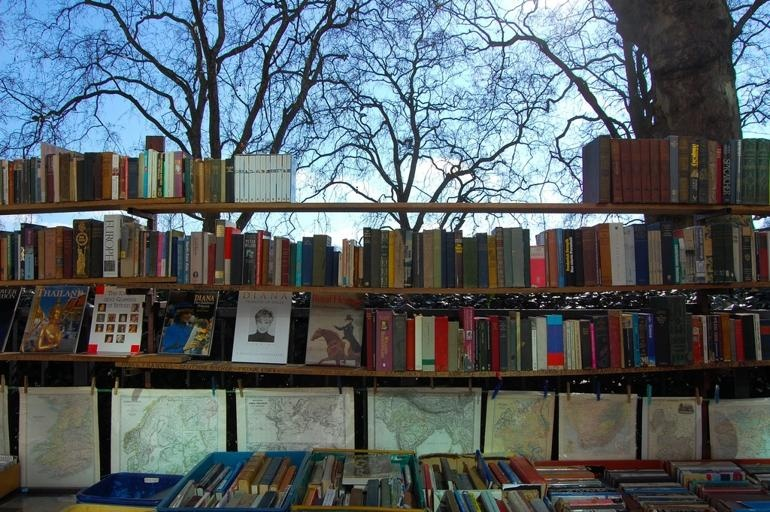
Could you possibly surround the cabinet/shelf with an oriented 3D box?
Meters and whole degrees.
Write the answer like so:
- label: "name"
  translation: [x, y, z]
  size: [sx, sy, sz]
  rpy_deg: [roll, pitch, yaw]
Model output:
- label: "cabinet/shelf"
  translation: [-0.105, 0.245, 7.029]
  size: [5.979, 1.376, 0.423]
  rpy_deg: [0, -5, 1]
